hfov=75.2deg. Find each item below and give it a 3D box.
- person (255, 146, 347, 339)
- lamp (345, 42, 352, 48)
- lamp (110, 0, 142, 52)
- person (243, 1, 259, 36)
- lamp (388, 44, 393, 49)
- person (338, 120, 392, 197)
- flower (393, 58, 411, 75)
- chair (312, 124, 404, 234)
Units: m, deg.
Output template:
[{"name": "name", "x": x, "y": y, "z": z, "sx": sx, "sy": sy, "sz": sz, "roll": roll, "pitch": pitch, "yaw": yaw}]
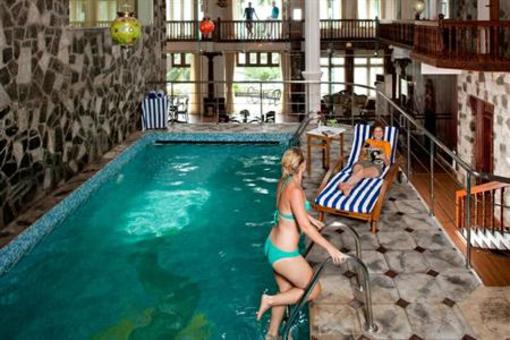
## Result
[{"name": "person", "x": 0.345, "y": 0.654, "z": 2.704, "sx": 0.693, "sy": 1.631, "sz": 0.555, "roll": 4, "pitch": 13, "yaw": 19}, {"name": "lamp", "x": 4.081, "y": -5.491, "z": 14.418, "sx": 0.278, "sy": 0.238, "sz": 0.090, "roll": 0, "pitch": 12, "yaw": 3}, {"name": "lamp", "x": -1.994, "y": -2.275, "z": 5.092, "sx": 0.388, "sy": 0.765, "sz": 0.847, "roll": -6, "pitch": 13, "yaw": -21}, {"name": "person", "x": -0.178, "y": -6.622, "z": 14.425, "sx": 0.550, "sy": 1.617, "sz": 1.173, "roll": -4, "pitch": 13, "yaw": -12}, {"name": "lamp", "x": 5.618, "y": -5.106, "z": 13.696, "sx": 0.161, "sy": 0.164, "sz": 0.042, "roll": -2, "pitch": 17, "yaw": -12}, {"name": "person", "x": 1.735, "y": -0.240, "z": 5.053, "sx": 0.616, "sy": 0.900, "sz": 1.519, "roll": 15, "pitch": 29, "yaw": 32}, {"name": "flower", "x": 6.317, "y": -4.539, "z": 14.391, "sx": 0.580, "sy": 0.618, "sz": 0.588, "roll": -6, "pitch": 17, "yaw": -9}, {"name": "chair", "x": 1.667, "y": 0.119, "z": 5.191, "sx": 1.013, "sy": 0.896, "sz": 2.225, "roll": 6, "pitch": 28, "yaw": 24}]
